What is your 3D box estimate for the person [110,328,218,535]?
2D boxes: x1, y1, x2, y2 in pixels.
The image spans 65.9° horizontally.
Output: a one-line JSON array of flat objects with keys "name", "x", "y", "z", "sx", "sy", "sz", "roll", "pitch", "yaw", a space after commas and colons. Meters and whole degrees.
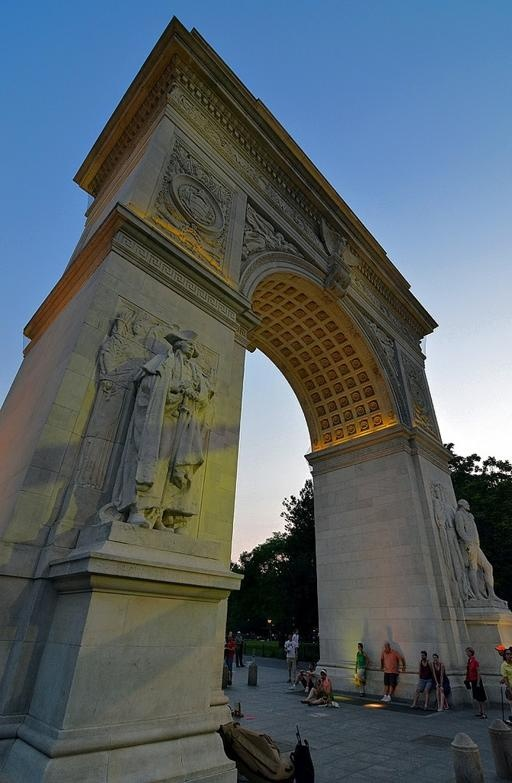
[{"name": "person", "x": -1.281, "y": 0.349, "z": 5.683, "sx": 0.722, "sy": 3.136, "sz": 1.066, "roll": -11, "pitch": -31, "yaw": 24}]

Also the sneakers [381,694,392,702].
[{"name": "sneakers", "x": 3.892, "y": 9.260, "z": 11.895, "sx": 0.186, "sy": 0.168, "sz": 0.402, "roll": -5, "pitch": -39, "yaw": 20}]
